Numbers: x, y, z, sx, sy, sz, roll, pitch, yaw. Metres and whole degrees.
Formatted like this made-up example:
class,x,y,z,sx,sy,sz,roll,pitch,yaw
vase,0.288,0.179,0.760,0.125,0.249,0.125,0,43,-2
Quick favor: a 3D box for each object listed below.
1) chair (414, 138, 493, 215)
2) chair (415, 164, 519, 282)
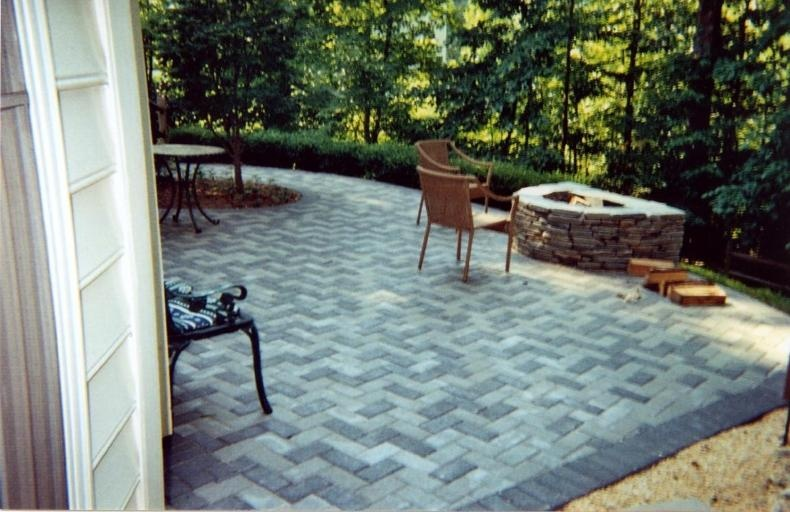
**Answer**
class,x,y,z,sx,sy,sz,roll,pitch,yaw
chair,0.768,-0.943,8.231,0.987,1.033,1.032,3,17,8
chair,0.820,-0.405,7.031,1.033,1.149,1.051,7,17,22
